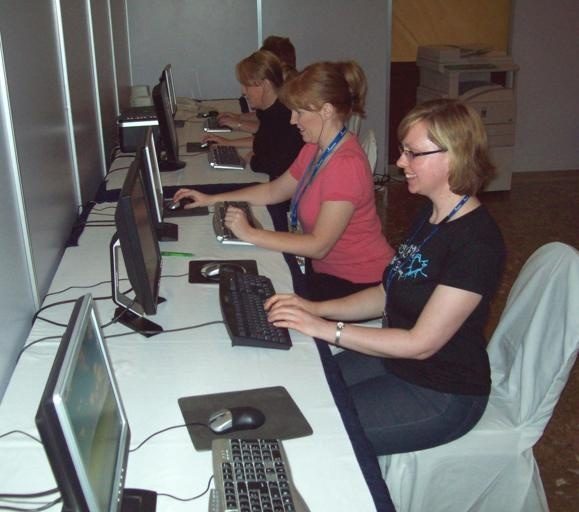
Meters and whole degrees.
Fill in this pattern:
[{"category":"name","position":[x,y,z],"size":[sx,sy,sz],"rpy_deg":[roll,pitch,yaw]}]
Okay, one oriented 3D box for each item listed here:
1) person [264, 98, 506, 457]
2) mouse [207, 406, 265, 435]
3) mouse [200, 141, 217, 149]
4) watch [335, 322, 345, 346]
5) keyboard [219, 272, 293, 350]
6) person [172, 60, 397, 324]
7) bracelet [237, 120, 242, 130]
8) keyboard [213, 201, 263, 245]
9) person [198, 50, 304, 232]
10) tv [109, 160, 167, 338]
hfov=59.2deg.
[{"category":"person","position":[0.331,0.065,1.522],"size":[0.561,1.007,0.416],"rpy_deg":[-1,18,1]},{"category":"mouse","position":[-0.124,0.370,1.168],"size":[0.102,0.035,0.057],"rpy_deg":[-5,29,-9]},{"category":"mouse","position":[-0.569,-0.769,3.556],"size":[0.107,0.027,0.066],"rpy_deg":[-19,36,-22]},{"category":"watch","position":[0.150,0.233,1.532],"size":[0.047,0.053,0.050],"rpy_deg":[8,20,8]},{"category":"keyboard","position":[-0.121,0.143,1.662],"size":[0.170,0.393,0.057],"rpy_deg":[13,52,8]},{"category":"person","position":[0.172,-0.476,2.526],"size":[1.170,1.347,0.882],"rpy_deg":[-5,29,-2]},{"category":"bracelet","position":[-0.401,-1.037,4.062],"size":[0.011,0.047,0.046],"rpy_deg":[0,3,-32]},{"category":"keyboard","position":[-0.242,-0.130,2.277],"size":[0.172,0.048,0.324],"rpy_deg":[6,24,-12]},{"category":"person","position":[-0.211,-1.039,3.394],"size":[0.734,0.569,1.432],"rpy_deg":[6,28,-14]},{"category":"tv","position":[-0.481,-0.018,1.567],"size":[0.145,0.476,0.466],"rpy_deg":[-1,14,-10]}]
